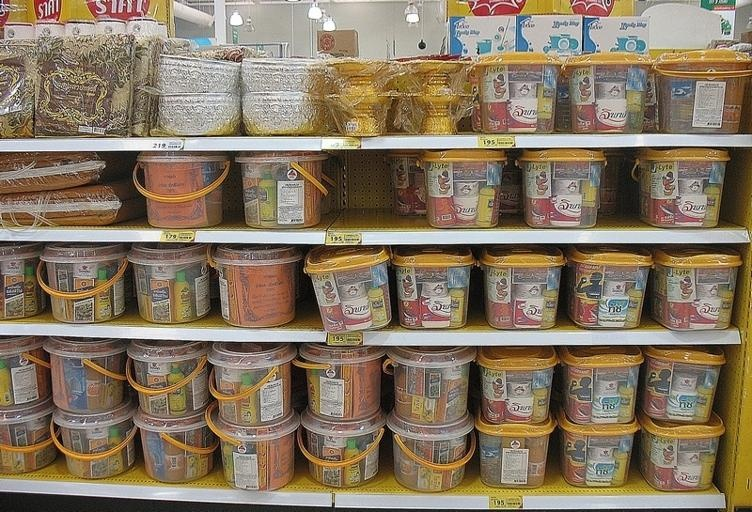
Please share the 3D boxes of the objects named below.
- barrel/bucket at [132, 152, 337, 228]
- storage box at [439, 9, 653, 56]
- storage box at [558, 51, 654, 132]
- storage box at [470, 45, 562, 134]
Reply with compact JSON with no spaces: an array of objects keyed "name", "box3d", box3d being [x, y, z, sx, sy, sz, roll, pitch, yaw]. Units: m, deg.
[{"name":"barrel/bucket","box3d":[-0.694,-0.317,3.060,0.742,0.243,0.440,1,8,2]},{"name":"storage box","box3d":[0.967,-1.243,3.626,1.085,0.261,0.271,0,15,15]},{"name":"storage box","box3d":[1.027,-0.736,2.980,0.437,0.345,0.371,0,19,7]},{"name":"storage box","box3d":[0.667,-0.802,3.078,0.493,0.388,0.410,2,24,10]}]
